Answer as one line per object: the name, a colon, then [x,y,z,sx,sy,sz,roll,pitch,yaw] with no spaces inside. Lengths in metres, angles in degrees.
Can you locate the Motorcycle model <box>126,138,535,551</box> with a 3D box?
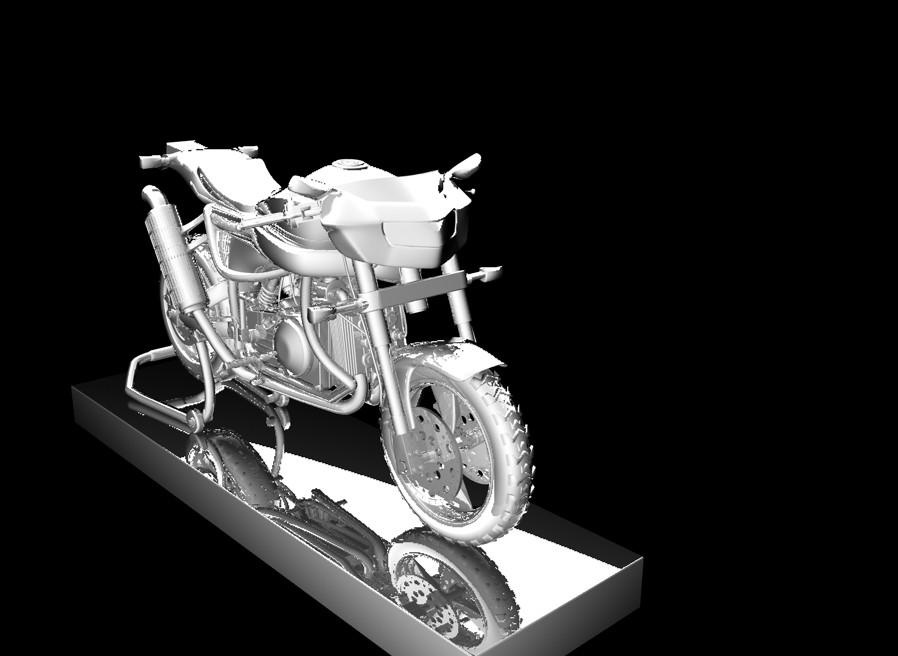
Motorcycle model: [-0.587,-0.064,3.302,2.059,1.246,0.759,23,25,37]

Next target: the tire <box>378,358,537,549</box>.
tire: [0.031,0.431,2.819,0.584,0.672,0.126,11,22,39]

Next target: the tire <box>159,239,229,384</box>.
tire: [-1.062,-0.094,3.551,0.141,0.469,0.428,-10,38,-33]
